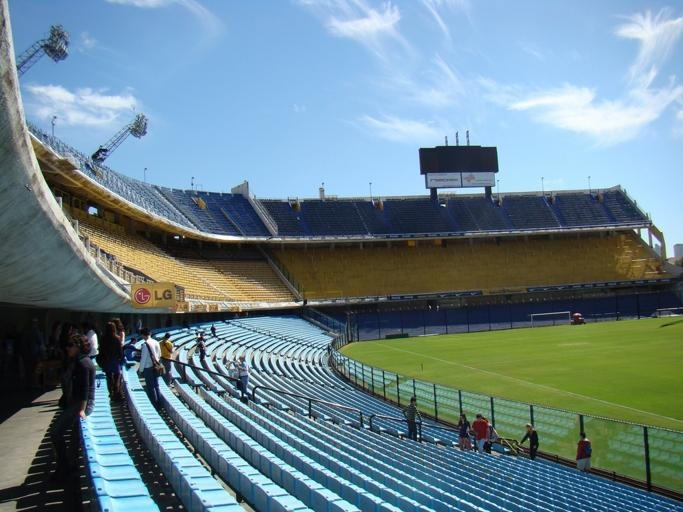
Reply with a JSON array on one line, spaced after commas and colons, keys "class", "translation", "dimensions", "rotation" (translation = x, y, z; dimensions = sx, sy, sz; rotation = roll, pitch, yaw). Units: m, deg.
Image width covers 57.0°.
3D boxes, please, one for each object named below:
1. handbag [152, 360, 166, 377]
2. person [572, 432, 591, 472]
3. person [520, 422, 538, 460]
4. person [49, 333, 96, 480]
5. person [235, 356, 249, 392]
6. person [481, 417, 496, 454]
[{"class": "handbag", "translation": [-3.389, 2.085, 11.743], "dimensions": [0.146, 0.219, 0.325], "rotation": [-2, -7, 9]}, {"class": "person", "translation": [4.881, 3.909, 12.624], "dimensions": [0.297, 0.787, 0.395], "rotation": [-3, -8, 17]}, {"class": "person", "translation": [4.151, 4.062, 13.849], "dimensions": [0.407, 0.791, 0.851], "rotation": [-3, -7, 15]}, {"class": "person", "translation": [-3.840, 2.117, 9.064], "dimensions": [0.501, 1.967, 1.132], "rotation": [2, -8, -22]}, {"class": "person", "translation": [-2.316, 2.754, 14.786], "dimensions": [0.241, 0.862, 1.083], "rotation": [0, -7, -9]}, {"class": "person", "translation": [3.205, 3.875, 13.664], "dimensions": [0.241, 0.772, 0.450], "rotation": [-7, -10, 40]}]
